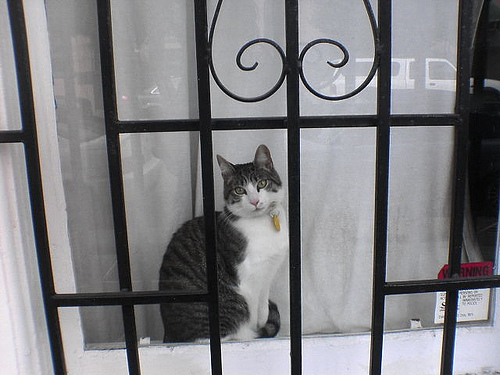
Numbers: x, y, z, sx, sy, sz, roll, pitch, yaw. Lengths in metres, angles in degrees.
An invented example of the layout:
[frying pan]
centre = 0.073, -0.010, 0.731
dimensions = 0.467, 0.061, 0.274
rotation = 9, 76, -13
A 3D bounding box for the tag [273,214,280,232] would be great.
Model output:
[tag]
centre = 0.127, 0.168, 2.882
dimensions = 0.030, 0.068, 0.009
rotation = -18, 11, -40

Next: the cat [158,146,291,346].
[cat]
centre = -0.133, 0.292, 3.056
dimensions = 0.593, 0.524, 0.972
rotation = 0, -72, 10
